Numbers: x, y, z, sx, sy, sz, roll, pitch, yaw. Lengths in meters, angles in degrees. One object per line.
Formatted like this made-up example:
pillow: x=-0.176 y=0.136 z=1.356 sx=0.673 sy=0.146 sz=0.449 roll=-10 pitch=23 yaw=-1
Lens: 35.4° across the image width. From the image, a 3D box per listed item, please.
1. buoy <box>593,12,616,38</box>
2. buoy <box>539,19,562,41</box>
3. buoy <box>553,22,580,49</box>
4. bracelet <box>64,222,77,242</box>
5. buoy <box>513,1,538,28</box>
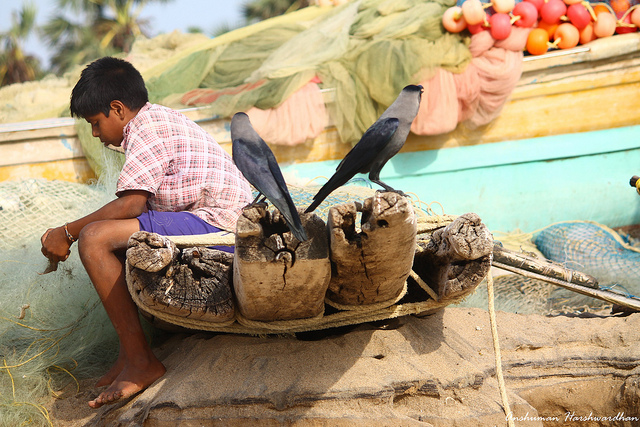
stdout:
buoy: x=3.856 y=-2.556 z=13.537 sx=0.321 sy=0.373 sz=0.315 roll=-3 pitch=4 yaw=-4
buoy: x=3.137 y=-2.514 z=13.574 sx=0.261 sy=0.305 sz=0.256 roll=0 pitch=11 yaw=10
buoy: x=3.361 y=-2.402 z=13.600 sx=0.338 sy=0.360 sz=0.364 roll=-11 pitch=10 yaw=-34
bracelet: x=-2.809 y=0.208 z=11.476 sx=0.051 sy=0.181 sz=0.184 roll=-32 pitch=42 yaw=-8
buoy: x=2.788 y=-2.707 z=13.479 sx=0.342 sy=0.332 sz=0.310 roll=11 pitch=15 yaw=16
